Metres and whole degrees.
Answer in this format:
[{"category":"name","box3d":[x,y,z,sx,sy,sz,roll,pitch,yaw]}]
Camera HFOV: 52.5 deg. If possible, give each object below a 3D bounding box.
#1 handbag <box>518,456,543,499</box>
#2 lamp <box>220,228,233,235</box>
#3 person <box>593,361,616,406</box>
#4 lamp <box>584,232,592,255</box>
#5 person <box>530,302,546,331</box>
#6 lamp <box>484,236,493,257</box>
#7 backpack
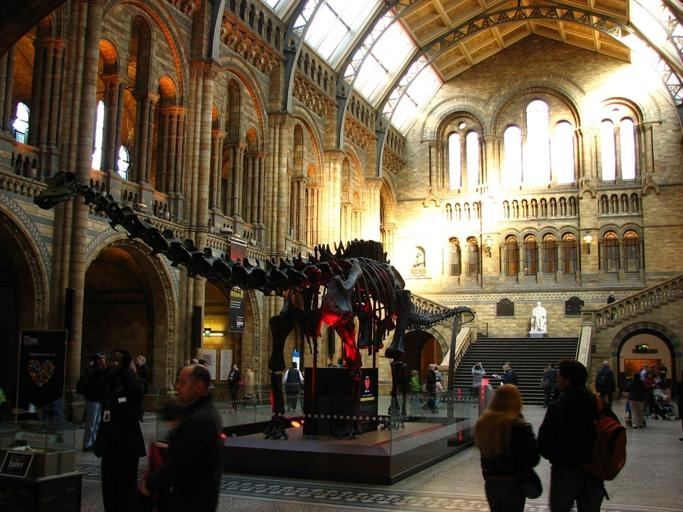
[{"category":"handbag","box3d":[1.750,2.053,6.294,0.140,0.364,0.260,8,7,41]},{"category":"lamp","box3d":[-3.673,-0.795,22.237,0.390,0.242,0.294,2,6,-12]},{"category":"person","box3d":[7.120,3.506,18.629,0.531,1.205,0.386,-1,2,42]},{"category":"lamp","box3d":[12.005,-0.575,33.707,0.432,1.037,0.755,5,6,20]},{"category":"person","box3d":[9.302,2.915,32.511,0.681,1.172,1.091,5,6,15]},{"category":"lamp","box3d":[7.589,-0.442,35.471,0.396,1.026,0.247,4,6,11]},{"category":"backpack","box3d":[2.426,1.688,6.411,0.385,0.682,0.463,0,1,32]}]
